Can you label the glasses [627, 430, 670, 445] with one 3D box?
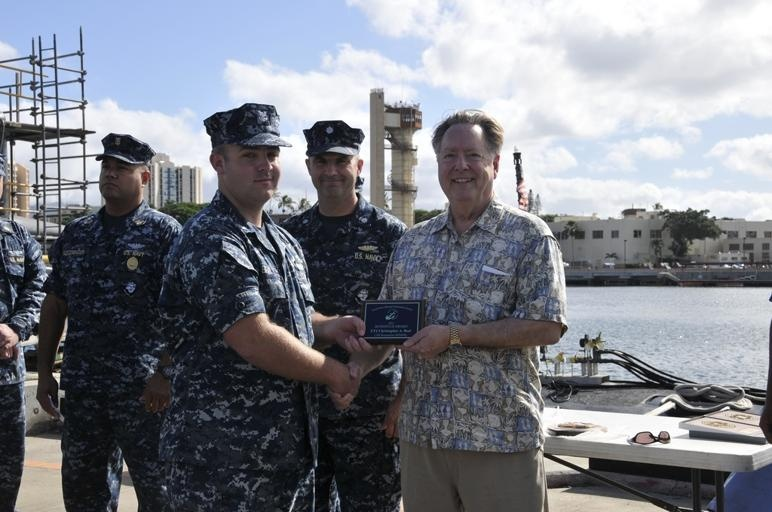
[{"bbox_3d":[1.823,1.243,6.566,0.282,0.070,0.195,0,0,13],"label":"glasses"}]
